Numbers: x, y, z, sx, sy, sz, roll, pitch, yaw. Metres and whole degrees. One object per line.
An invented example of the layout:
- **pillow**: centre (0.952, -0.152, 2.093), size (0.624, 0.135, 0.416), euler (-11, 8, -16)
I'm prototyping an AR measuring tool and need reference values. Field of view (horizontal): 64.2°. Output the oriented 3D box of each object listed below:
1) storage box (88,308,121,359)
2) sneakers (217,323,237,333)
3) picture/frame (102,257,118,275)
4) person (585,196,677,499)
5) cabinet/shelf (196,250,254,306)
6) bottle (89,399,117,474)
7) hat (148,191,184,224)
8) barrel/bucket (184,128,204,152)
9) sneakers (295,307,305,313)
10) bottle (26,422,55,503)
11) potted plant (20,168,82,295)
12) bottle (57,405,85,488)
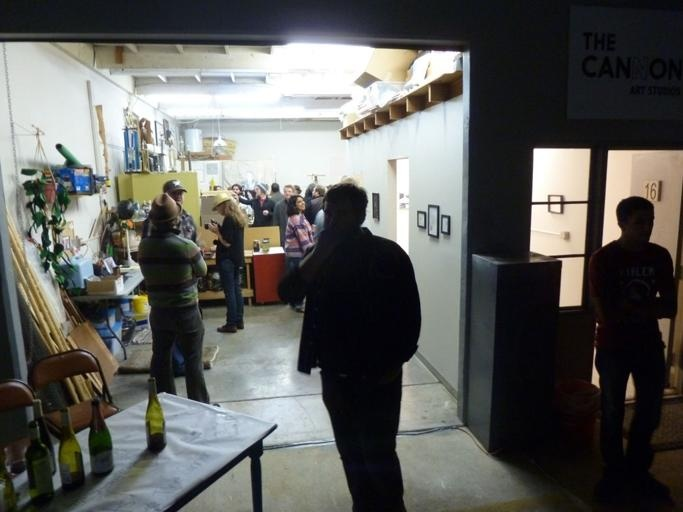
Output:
- **storage box**: centre (-2.590, 0.848, 5.890), size (0.358, 0.499, 0.499), euler (-9, 10, -13)
- **sneakers**: centre (-1.498, 0.943, 7.146), size (0.260, 0.121, 0.106), euler (4, 4, 2)
- **picture/frame**: centre (-2.635, 0.113, 6.097), size (0.048, 0.193, 0.185), euler (-14, 3, 7)
- **person**: centre (2.060, 0.642, 3.845), size (0.591, 2.065, 0.589), euler (1, 14, 12)
- **cabinet/shelf**: centre (-1.788, 0.236, 8.479), size (0.912, 0.825, 0.728), euler (0, 2, -4)
- **bottle**: centre (-1.374, 0.995, 3.065), size (0.129, 0.421, 0.217), euler (-8, 15, -25)
- **hat**: centre (-1.522, -0.402, 4.633), size (0.232, 0.240, 0.172), euler (-8, 15, -24)
- **barrel/bucket**: centre (-3.622, -2.793, 13.215), size (0.392, 0.558, 0.797), euler (-5, 15, -16)
- **sneakers**: centre (-0.608, 0.789, 7.861), size (0.130, 0.065, 0.188), euler (1, -2, -8)
- **bottle**: centre (-1.627, 1.136, 2.917), size (0.132, 0.324, 0.181), euler (-10, 16, -33)
- **potted plant**: centre (-2.895, -0.269, 5.403), size (0.396, 1.217, 0.768), euler (-8, 15, -26)
- **bottle**: centre (-1.491, 1.089, 2.971), size (0.116, 0.334, 0.142), euler (-9, 15, -28)
